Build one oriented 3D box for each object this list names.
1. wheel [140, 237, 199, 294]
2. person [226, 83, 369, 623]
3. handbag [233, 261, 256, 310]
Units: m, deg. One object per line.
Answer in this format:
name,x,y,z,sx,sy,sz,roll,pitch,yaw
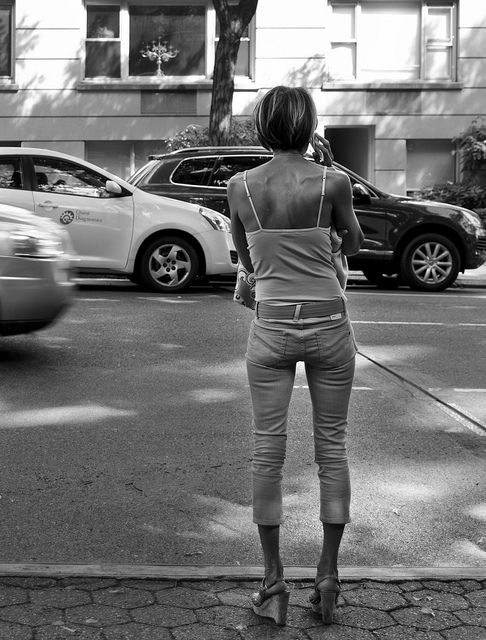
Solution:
wheel,-1.018,-0.760,10.877,0.763,0.781,0.233,1,7,-1
person,0.133,0.075,2.256,0.393,1.478,0.437,2,7,6
handbag,0.014,-0.111,2.461,0.050,0.157,0.064,0,7,-32
